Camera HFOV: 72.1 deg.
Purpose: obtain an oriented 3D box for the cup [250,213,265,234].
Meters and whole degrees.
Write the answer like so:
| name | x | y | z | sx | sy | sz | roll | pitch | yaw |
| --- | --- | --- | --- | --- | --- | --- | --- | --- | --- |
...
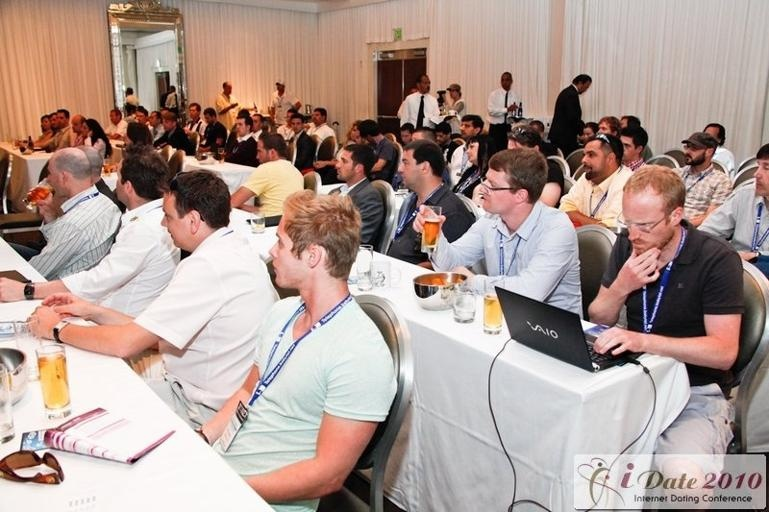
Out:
| name | x | y | z | sx | sy | sz | roll | pitch | yaw |
| --- | --- | --- | --- | --- | --- | --- | --- | --- | --- |
| cup | -0.900 | -0.246 | 3.854 | 0.110 | 0.138 | 0.120 | 0 | 1 | 0 |

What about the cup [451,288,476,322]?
| name | x | y | z | sx | sy | sz | roll | pitch | yaw |
| --- | --- | --- | --- | --- | --- | --- | --- | --- | --- |
| cup | 0.340 | 0.214 | 2.255 | 0.097 | 0.140 | 0.131 | 0 | 4 | -4 |

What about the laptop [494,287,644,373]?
| name | x | y | z | sx | sy | sz | roll | pitch | yaw |
| --- | --- | --- | --- | --- | --- | --- | --- | --- | --- |
| laptop | 0.695 | 0.168 | 2.002 | 0.320 | 0.239 | 0.360 | -15 | 19 | -35 |

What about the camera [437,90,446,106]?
| name | x | y | z | sx | sy | sz | roll | pitch | yaw |
| --- | --- | --- | --- | --- | --- | --- | --- | --- | --- |
| camera | 1.181 | -3.285 | 10.977 | 0.258 | 0.326 | 0.303 | -1 | 3 | 4 |
